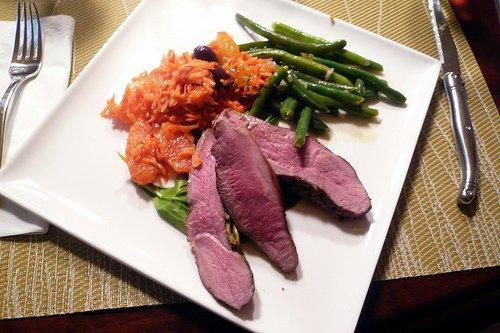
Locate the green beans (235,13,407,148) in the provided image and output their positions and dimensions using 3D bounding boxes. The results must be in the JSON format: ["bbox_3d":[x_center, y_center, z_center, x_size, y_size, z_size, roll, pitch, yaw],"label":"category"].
[{"bbox_3d":[0.519,-0.791,3.833,1.396,0.294,0.927,28,70,8],"label":"green beans"}]
